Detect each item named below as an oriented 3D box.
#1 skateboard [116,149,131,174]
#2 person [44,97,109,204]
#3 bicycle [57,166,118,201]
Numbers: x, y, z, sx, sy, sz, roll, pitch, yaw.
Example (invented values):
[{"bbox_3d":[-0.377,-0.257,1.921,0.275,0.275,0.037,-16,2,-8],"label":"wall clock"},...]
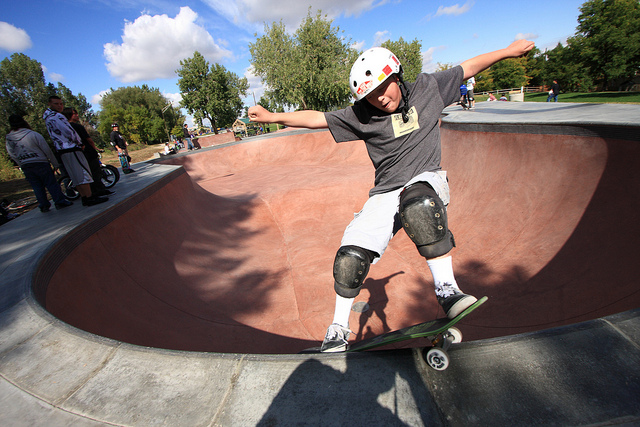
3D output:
[{"bbox_3d":[-6.906,-1.771,12.143,0.279,1.036,0.187,-5,22,6],"label":"skateboard"},{"bbox_3d":[-4.648,-1.138,6.427,0.432,2.011,0.842,-26,29,-31],"label":"person"},{"bbox_3d":[-4.903,-0.617,7.179,0.979,0.604,0.531,-28,14,1],"label":"bicycle"}]
